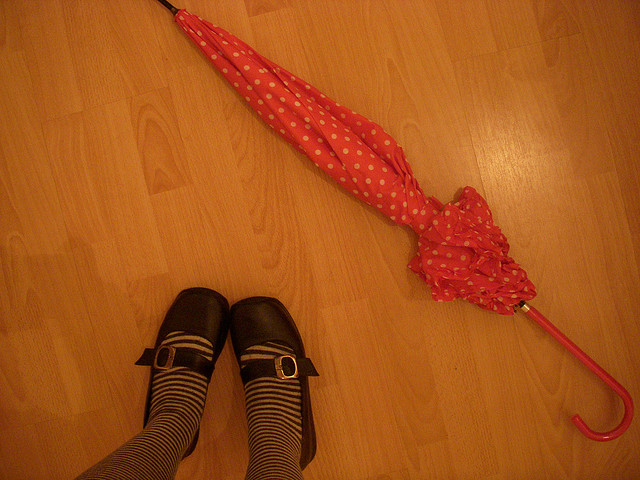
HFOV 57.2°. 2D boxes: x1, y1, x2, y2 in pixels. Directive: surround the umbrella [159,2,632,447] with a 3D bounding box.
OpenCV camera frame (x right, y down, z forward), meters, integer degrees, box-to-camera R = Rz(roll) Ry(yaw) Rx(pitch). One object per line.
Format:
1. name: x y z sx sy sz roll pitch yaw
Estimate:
1. umbrella: 0.218 -0.098 1.700 1.469 0.186 0.317 44 70 2
